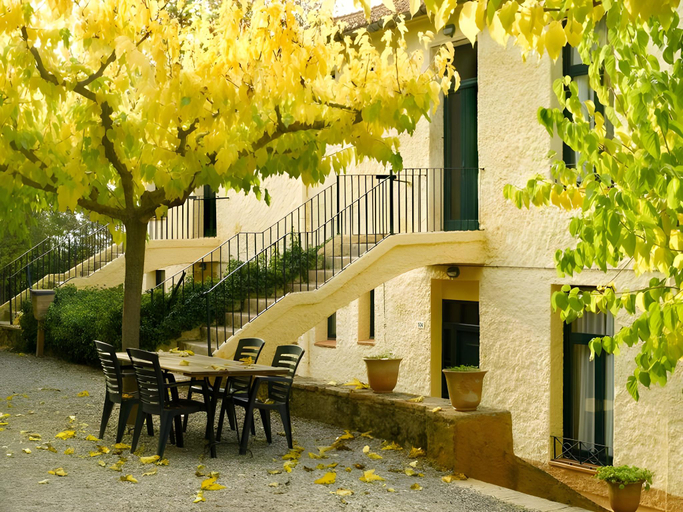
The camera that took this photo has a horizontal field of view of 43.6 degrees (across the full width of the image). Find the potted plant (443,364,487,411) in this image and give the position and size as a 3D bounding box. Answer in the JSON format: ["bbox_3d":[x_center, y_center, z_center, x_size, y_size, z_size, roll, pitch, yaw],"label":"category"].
[{"bbox_3d":[1.247,1.368,8.906,0.384,0.349,0.410,2,-8,-21],"label":"potted plant"}]

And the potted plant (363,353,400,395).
[{"bbox_3d":[0.471,1.345,9.718,0.364,0.330,0.400,0,-7,1],"label":"potted plant"}]
